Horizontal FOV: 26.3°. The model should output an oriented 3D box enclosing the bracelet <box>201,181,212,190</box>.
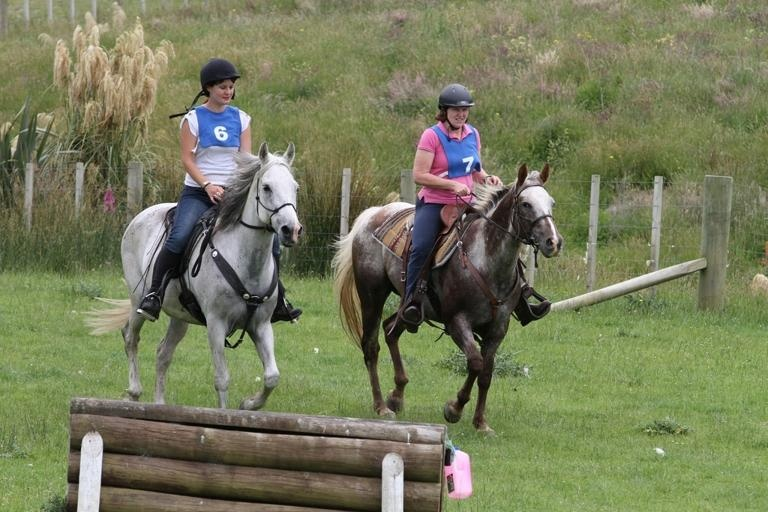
[{"bbox_3d":[-4.097,-1.648,37.356,0.042,0.160,0.157,38,-10,-25],"label":"bracelet"}]
